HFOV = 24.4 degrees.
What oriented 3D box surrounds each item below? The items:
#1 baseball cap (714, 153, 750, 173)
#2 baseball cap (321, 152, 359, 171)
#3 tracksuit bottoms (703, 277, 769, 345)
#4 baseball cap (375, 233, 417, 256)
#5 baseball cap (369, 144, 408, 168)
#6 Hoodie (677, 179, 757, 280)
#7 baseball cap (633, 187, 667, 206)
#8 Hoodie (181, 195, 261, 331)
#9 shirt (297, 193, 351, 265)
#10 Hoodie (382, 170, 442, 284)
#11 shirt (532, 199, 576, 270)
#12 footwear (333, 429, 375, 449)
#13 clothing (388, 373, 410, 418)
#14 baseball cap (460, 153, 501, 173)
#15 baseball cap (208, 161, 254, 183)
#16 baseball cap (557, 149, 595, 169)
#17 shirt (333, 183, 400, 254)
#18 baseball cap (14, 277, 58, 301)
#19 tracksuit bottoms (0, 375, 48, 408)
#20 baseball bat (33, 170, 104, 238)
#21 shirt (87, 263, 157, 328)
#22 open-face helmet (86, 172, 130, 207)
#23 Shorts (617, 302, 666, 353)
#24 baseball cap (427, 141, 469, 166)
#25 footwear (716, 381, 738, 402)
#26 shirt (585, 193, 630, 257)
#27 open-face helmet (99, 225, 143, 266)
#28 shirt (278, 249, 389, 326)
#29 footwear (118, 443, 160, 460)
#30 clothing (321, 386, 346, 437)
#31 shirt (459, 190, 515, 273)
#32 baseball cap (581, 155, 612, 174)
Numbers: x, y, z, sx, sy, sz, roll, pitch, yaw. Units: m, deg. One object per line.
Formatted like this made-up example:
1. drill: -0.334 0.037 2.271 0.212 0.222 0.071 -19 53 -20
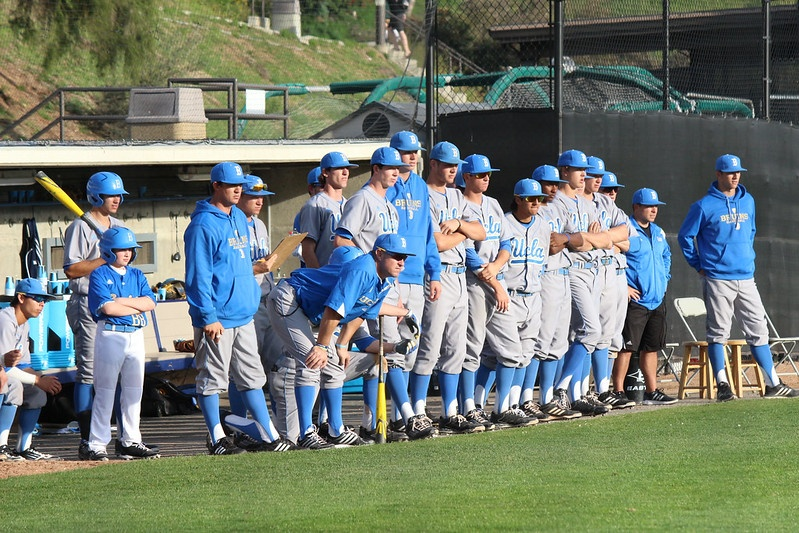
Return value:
1. baseball cap: 4.649 -1.427 25.994 0.473 0.248 0.342 1 6 37
2. baseball cap: -0.794 -1.363 24.084 0.376 0.161 0.259 3 7 21
3. tracksuit bottoms: 4.728 0.641 26.098 1.052 1.375 0.518 -1 -4 -13
4. baseball cap: -0.050 -0.307 23.076 0.370 0.199 0.265 17 1 15
5. baseball cap: -0.133 -1.409 23.809 0.331 0.186 0.234 0 5 20
6. Hoodie: 4.513 -0.510 26.316 1.398 1.605 0.828 2 -8 -17
7. baseball cap: 3.527 -0.980 26.166 0.405 0.210 0.263 0 6 8
8. Hoodie: -2.207 -0.002 23.213 0.939 1.495 0.657 -6 15 -20
9. shirt: -0.937 -0.460 23.969 0.845 0.951 0.399 5 -7 -39
10. Hoodie: 0.171 -0.453 24.140 0.824 1.284 0.304 0 -6 -38
11. shirt: 2.209 -0.409 25.120 0.237 0.801 0.673 -15 -16 34
12. footwear: -0.591 2.197 23.637 0.560 0.242 0.190 1 -3 -15
13. clothing: 0.031 1.624 24.010 0.214 0.684 0.288 -16 11 -10
14. baseball cap: 1.054 -1.357 24.523 0.376 0.175 0.246 0 2 16
15. baseball cap: -2.137 -1.180 23.313 0.362 0.210 0.256 1 8 -7
16. baseball cap: 2.415 -1.474 25.471 0.325 0.191 0.243 3 5 13
17. shirt: -0.372 -0.577 23.682 0.806 0.831 0.359 10 -6 -42
18. baseball cap: -4.686 0.287 23.826 0.369 0.190 0.273 1 0 1
19. tracksuit bottoms: -4.830 1.637 23.856 0.481 0.196 0.309 7 -37 -5
20. baseball bat: -4.667 -0.861 26.061 0.174 1.263 0.213 -32 -14 -50
21. shirt: -3.498 0.380 23.352 0.789 0.786 0.515 -4 15 -15
22. open-face helmet: -3.739 -0.986 23.746 0.497 0.392 0.377 4 6 24
23. Shorts: 3.415 0.851 26.159 0.698 0.871 0.321 3 -2 -35
24. baseball cap: 0.621 -1.487 24.389 0.396 0.219 0.275 7 9 12
25. footwear: 4.587 1.752 25.821 0.275 0.303 0.615 2 15 10
26. shirt: 2.836 -0.573 25.778 0.305 0.804 0.763 -12 -7 34
27. open-face helmet: -3.538 -0.267 23.387 0.506 0.408 0.380 3 0 37
28. shirt: -0.753 0.286 23.120 0.958 0.691 0.984 10 0 19
29. footwear: -3.267 2.324 23.329 0.535 0.255 0.213 0 -2 0
30. clothing: -0.819 1.816 23.610 0.282 0.638 0.304 -1 14 -2
31. shirt: 1.160 -0.415 24.502 1.009 1.227 0.433 -4 -1 -33
32. baseball cap: 2.710 -1.409 25.876 0.222 0.171 0.293 -5 12 -35
